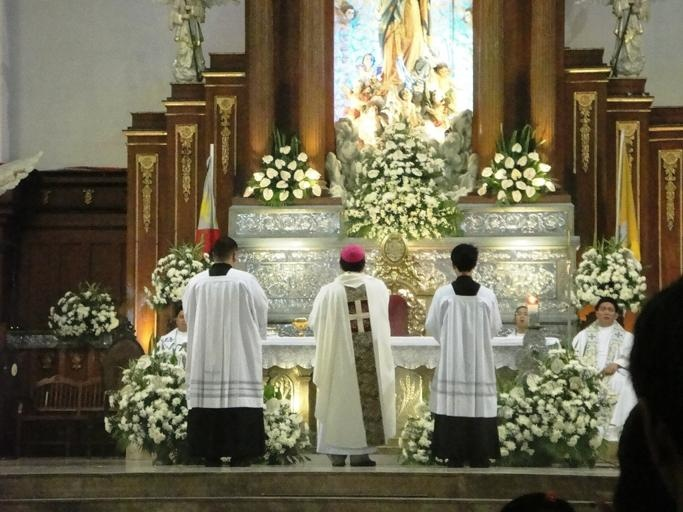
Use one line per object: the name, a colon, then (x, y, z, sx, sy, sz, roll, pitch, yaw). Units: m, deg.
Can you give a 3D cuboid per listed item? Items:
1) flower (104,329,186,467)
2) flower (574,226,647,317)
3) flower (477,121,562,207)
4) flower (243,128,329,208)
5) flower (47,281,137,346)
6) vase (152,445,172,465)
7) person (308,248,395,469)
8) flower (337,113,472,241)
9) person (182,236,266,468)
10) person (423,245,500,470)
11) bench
flower: (-1.933, 1.505, 12.982, 0.757, 1.183, 0.642, 0, -5, -8)
flower: (3.070, 0.255, 14.903, 0.695, 0.959, 0.863, 0, 2, 3)
flower: (2.121, -1.073, 15.430, 0.937, 0.961, 0.371, -1, -5, 9)
flower: (-0.651, -1.006, 15.601, 0.858, 0.939, 0.345, -16, 0, 3)
flower: (-3.329, 0.787, 16.951, 1.039, 0.799, 0.903, 7, 6, 43)
vase: (-1.772, 1.992, 12.843, 0.185, 0.195, 0.069, 0, -5, -9)
person: (0.107, 0.991, 12.874, 0.838, 2.195, 0.246, 0, -5, -2)
flower: (0.687, -0.803, 15.446, 1.343, 1.201, 1.363, -4, 20, -4)
person: (-1.151, 0.984, 13.048, 0.837, 2.253, 0.766, -1, -4, 5)
person: (1.210, 1.145, 12.652, 0.730, 1.852, 0.219, -1, -5, 5)
bench: (-3.186, 1.931, 15.083, 0.948, 0.800, 0.388, 0, -7, -2)
